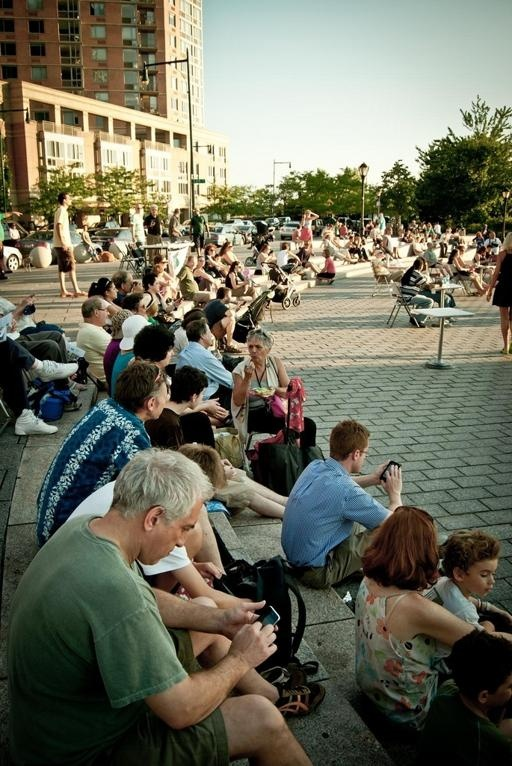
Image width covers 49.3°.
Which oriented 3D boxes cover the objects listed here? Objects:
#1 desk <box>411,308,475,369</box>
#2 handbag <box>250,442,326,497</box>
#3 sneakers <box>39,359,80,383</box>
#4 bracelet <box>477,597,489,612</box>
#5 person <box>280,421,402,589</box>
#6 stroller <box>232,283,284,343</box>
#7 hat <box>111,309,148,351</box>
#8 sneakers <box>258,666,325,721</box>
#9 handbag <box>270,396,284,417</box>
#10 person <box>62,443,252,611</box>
[{"bbox_3d":[4.109,-0.940,12.391,1.318,1.209,1.269,-8,23,-19],"label":"desk"},{"bbox_3d":[0.224,0.844,5.109,0.430,0.391,0.400,-4,-23,-32],"label":"handbag"},{"bbox_3d":[-2.178,-0.129,6.210,0.507,0.165,0.211,-6,-16,-13],"label":"sneakers"},{"bbox_3d":[1.330,1.297,3.252,0.052,0.024,0.067,-7,36,8],"label":"bracelet"},{"bbox_3d":[0.596,0.912,3.776,0.891,1.181,0.622,-9,16,-35],"label":"person"},{"bbox_3d":[-0.098,-1.605,12.100,1.142,0.415,0.462,-36,50,-20],"label":"stroller"},{"bbox_3d":[-1.247,-0.477,5.582,0.251,0.329,0.425,-4,12,-11],"label":"hat"},{"bbox_3d":[0.140,1.415,2.563,0.393,0.171,0.127,5,47,-20],"label":"sneakers"},{"bbox_3d":[0.233,0.268,6.096,0.168,0.214,0.086,-21,9,41],"label":"handbag"},{"bbox_3d":[-0.474,0.729,2.716,0.873,0.681,0.591,14,18,-28],"label":"person"}]
